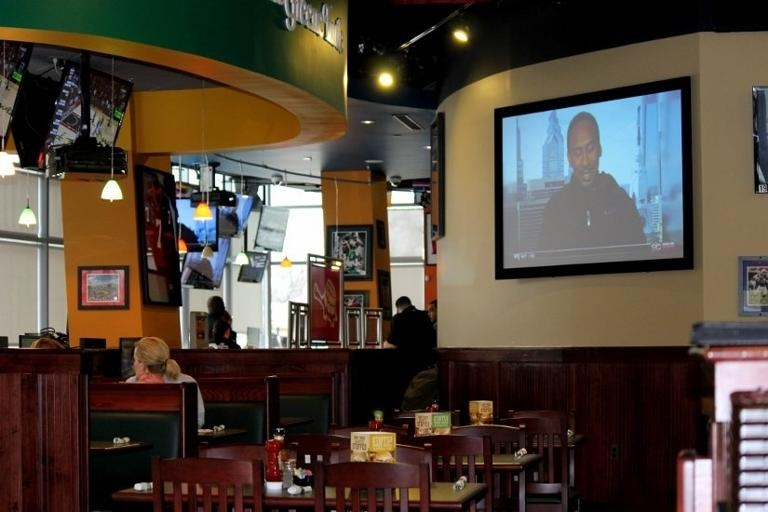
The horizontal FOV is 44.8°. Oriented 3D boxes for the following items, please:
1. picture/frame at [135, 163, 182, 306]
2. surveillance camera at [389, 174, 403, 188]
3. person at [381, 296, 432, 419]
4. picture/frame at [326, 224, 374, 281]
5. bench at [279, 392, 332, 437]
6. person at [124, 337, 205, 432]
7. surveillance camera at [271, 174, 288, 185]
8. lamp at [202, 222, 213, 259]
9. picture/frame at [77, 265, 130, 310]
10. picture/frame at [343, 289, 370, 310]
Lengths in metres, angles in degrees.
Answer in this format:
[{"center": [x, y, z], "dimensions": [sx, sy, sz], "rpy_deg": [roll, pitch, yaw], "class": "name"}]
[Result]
[{"center": [-2.981, -0.272, 12.325], "dimensions": [0.169, 1.828, 0.994], "rpy_deg": [-3, -5, 16], "class": "picture/frame"}, {"center": [0.194, -1.410, 17.262], "dimensions": [0.174, 0.141, 0.164], "rpy_deg": [-4, -2, 24], "class": "surveillance camera"}, {"center": [0.253, 1.247, 11.620], "dimensions": [0.496, 1.275, 0.901], "rpy_deg": [-5, -7, 39], "class": "person"}, {"center": [-0.539, -0.043, 15.949], "dimensions": [0.959, 1.153, 0.086], "rpy_deg": [0, -3, 16], "class": "picture/frame"}, {"center": [-0.863, 1.651, 9.950], "dimensions": [0.545, 0.553, 0.417], "rpy_deg": [0, -6, 10], "class": "bench"}, {"center": [-2.008, 1.191, 8.515], "dimensions": [0.840, 0.853, 0.467], "rpy_deg": [-1, -10, 4], "class": "person"}, {"center": [-1.940, -1.381, 16.642], "dimensions": [0.258, 0.202, 0.256], "rpy_deg": [-2, -2, 14], "class": "surveillance camera"}, {"center": [-2.748, -0.286, 14.598], "dimensions": [0.192, 0.544, 0.433], "rpy_deg": [0, -5, -12], "class": "lamp"}, {"center": [-3.576, 0.395, 11.961], "dimensions": [0.539, 0.477, 0.041], "rpy_deg": [-1, -9, 9], "class": "picture/frame"}, {"center": [-0.451, 0.733, 15.853], "dimensions": [0.460, 0.482, 0.033], "rpy_deg": [1, -19, -1], "class": "picture/frame"}]
